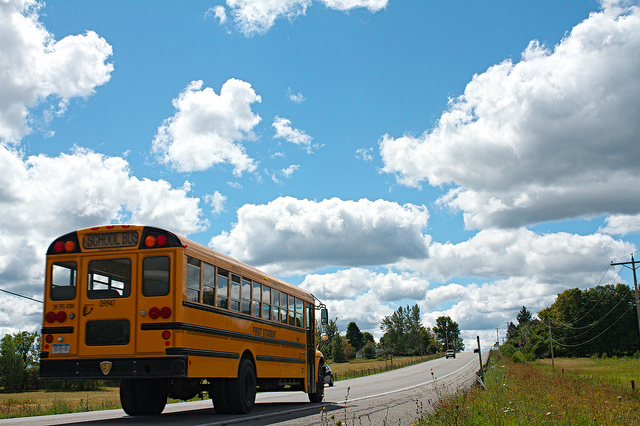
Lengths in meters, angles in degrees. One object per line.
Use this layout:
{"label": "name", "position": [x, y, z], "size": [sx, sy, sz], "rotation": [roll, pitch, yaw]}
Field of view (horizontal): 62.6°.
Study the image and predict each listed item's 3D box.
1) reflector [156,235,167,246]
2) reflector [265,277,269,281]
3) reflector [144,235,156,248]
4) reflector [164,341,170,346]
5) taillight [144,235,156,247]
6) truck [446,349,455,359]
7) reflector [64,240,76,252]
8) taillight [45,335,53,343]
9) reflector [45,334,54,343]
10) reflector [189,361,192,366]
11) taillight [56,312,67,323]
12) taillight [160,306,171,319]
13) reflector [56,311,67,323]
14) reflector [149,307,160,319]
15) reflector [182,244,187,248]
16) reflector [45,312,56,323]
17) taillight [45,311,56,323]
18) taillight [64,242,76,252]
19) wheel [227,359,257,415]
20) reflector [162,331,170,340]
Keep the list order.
{"label": "reflector", "position": [-4.825, 0.815, 15.972], "size": [0.279, 0.308, 0.069], "rotation": [1, -7, -1]}
{"label": "reflector", "position": [-2.075, 2.479, 20.227], "size": [0.108, 0.120, 0.056], "rotation": [5, 8, 8]}
{"label": "reflector", "position": [-5.190, 0.850, 16.062], "size": [0.356, 0.368, 0.025], "rotation": [-7, -12, 7]}
{"label": "reflector", "position": [-4.468, 3.756, 15.393], "size": [0.119, 0.131, 0.027], "rotation": [-2, -4, -3]}
{"label": "taillight", "position": [-5.188, 0.839, 16.060], "size": [0.286, 0.311, 0.072], "rotation": [13, -6, 2]}
{"label": "truck", "position": [30.026, 31.950, 121.518], "size": [1.631, 1.821, 3.762], "rotation": [-4, -19, 10]}
{"label": "reflector", "position": [-7.766, 1.006, 16.344], "size": [0.294, 0.323, 0.075], "rotation": [14, -2, 10]}
{"label": "taillight", "position": [-8.209, 3.760, 15.964], "size": [0.198, 0.216, 0.041], "rotation": [8, -11, -5]}
{"label": "reflector", "position": [-8.201, 3.753, 15.962], "size": [0.212, 0.235, 0.036], "rotation": [-5, -4, 7]}
{"label": "reflector", "position": [-3.846, 4.400, 15.640], "size": [0.005, 0.127, 0.110], "rotation": [-11, -14, 26]}
{"label": "taillight", "position": [-7.888, 3.115, 16.018], "size": [0.289, 0.304, 0.071], "rotation": [-3, -3, 8]}
{"label": "taillight", "position": [-4.575, 2.893, 15.562], "size": [0.324, 0.336, 0.009], "rotation": [-6, -12, 2]}
{"label": "reflector", "position": [-7.883, 3.100, 16.019], "size": [0.301, 0.330, 0.072], "rotation": [3, -7, 5]}
{"label": "reflector", "position": [-4.908, 2.906, 15.591], "size": [0.308, 0.315, 0.020], "rotation": [-7, -12, 7]}
{"label": "reflector", "position": [-4.140, 0.974, 16.059], "size": [0.105, 0.108, 0.036], "rotation": [2, -4, -27]}
{"label": "reflector", "position": [-8.209, 3.123, 16.060], "size": [0.312, 0.330, 0.024], "rotation": [-7, -12, 5]}
{"label": "taillight", "position": [-8.224, 3.122, 16.061], "size": [0.311, 0.344, 0.311], "rotation": [-2, -7, 9]}
{"label": "taillight", "position": [-7.749, 1.023, 16.339], "size": [0.270, 0.295, 0.066], "rotation": [13, -4, 5]}
{"label": "wheel", "position": [-2.698, 5.800, 17.825], "size": [0.436, 1.454, 1.495], "rotation": [-3, -45, 13]}
{"label": "reflector", "position": [-4.521, 3.529, 15.441], "size": [0.206, 0.235, 0.036], "rotation": [-8, -12, 11]}
